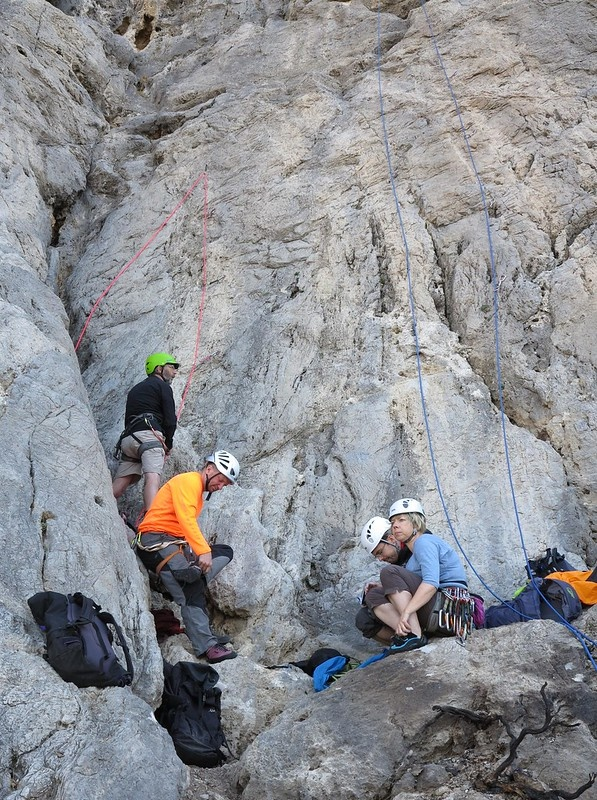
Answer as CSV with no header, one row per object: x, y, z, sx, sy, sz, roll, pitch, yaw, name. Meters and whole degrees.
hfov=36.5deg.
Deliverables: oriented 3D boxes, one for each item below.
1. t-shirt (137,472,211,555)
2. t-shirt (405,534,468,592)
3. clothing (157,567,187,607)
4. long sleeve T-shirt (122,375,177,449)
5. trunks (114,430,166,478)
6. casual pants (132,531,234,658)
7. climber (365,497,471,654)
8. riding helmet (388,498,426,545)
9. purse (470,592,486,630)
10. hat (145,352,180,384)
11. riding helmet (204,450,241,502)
-0.949,0.894,7.373,0.580,0.571,0.856,26,-10,-9,t-shirt
1.011,1.250,6.833,0.404,0.457,0.629,-9,-22,-1,t-shirt
-0.982,1.550,7.274,0.118,0.315,0.247,-29,30,-30,clothing
-1.411,0.141,8.646,0.619,0.785,0.408,-11,-18,35,long sleeve T-shirt
-1.459,0.504,8.458,0.361,0.337,0.203,-26,-45,38,trunks
-0.944,1.564,7.247,0.500,1.053,0.355,-24,-32,-26,casual pants
0.890,1.356,6.819,0.721,1.157,0.709,7,-29,-10,climber
0.859,0.971,7.146,0.258,0.280,0.221,24,-48,-30,riding helmet
1.330,1.590,6.792,0.089,0.226,0.175,-1,-8,31,purse
-1.387,-0.320,9.203,0.359,0.313,0.288,-6,4,-19,hat
-0.680,0.707,8.170,0.356,0.314,0.259,-39,-14,-13,riding helmet
